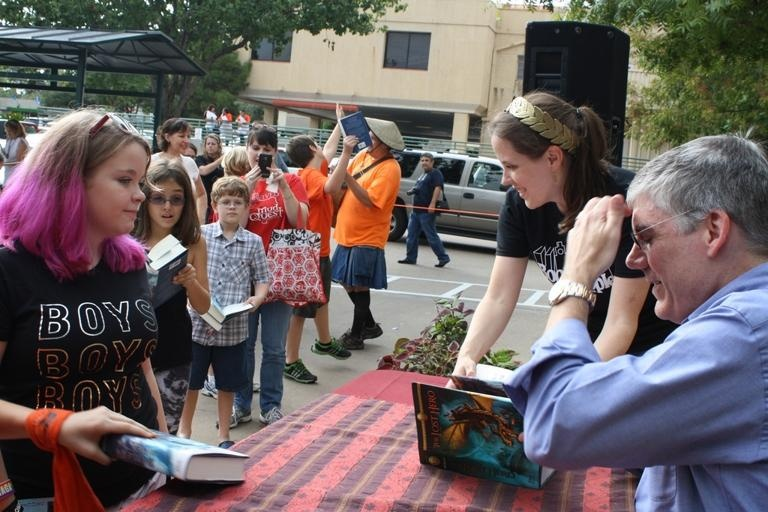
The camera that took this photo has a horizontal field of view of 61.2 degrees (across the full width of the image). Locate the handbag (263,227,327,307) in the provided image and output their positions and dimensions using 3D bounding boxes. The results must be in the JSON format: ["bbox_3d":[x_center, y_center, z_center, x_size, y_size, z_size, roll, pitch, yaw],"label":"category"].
[{"bbox_3d":[-0.720,0.089,5.092,0.626,0.761,0.224,3,-16,-20],"label":"handbag"}]

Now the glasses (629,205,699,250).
[{"bbox_3d":[0.786,-0.089,1.843,0.115,0.034,0.112,-26,3,15],"label":"glasses"}]

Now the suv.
[{"bbox_3d":[1.436,-1.315,13.687,2.676,1.323,1.502,2,7,12],"label":"suv"}]

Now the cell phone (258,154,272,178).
[{"bbox_3d":[-0.960,-0.717,5.243,0.144,0.188,0.116,3,11,11],"label":"cell phone"}]

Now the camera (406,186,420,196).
[{"bbox_3d":[0.594,-1.193,12.454,0.203,0.074,0.208,-12,25,30],"label":"camera"}]

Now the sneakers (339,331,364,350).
[{"bbox_3d":[-0.329,0.879,6.748,0.312,0.156,0.121,9,-2,-9],"label":"sneakers"}]

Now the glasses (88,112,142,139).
[{"bbox_3d":[-0.985,-0.445,2.333,0.112,0.034,0.111,-38,-9,13],"label":"glasses"}]

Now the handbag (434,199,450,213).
[{"bbox_3d":[1.167,-0.996,13.033,0.226,0.192,0.314,-2,5,2],"label":"handbag"}]

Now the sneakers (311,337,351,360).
[{"bbox_3d":[-0.502,0.914,6.484,0.443,0.210,0.162,13,18,-12],"label":"sneakers"}]
